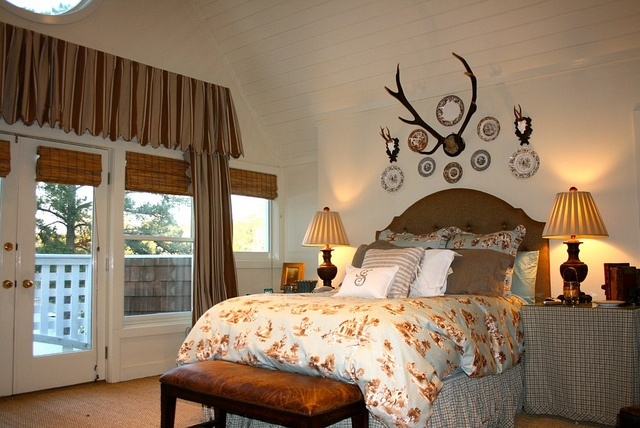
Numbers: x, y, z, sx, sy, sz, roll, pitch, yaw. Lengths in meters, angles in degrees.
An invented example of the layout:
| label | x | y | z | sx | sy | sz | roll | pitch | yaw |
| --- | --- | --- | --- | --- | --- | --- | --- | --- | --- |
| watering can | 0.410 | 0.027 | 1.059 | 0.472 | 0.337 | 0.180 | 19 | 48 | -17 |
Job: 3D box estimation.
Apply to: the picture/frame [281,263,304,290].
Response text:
| label | x | y | z | sx | sy | sz | roll | pitch | yaw |
| --- | --- | --- | --- | --- | --- | --- | --- | --- | --- |
| picture/frame | -0.368 | 0.838 | 6.229 | 0.287 | 0.340 | 0.020 | -1 | -17 | 18 |

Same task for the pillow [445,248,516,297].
| label | x | y | z | sx | sy | sz | roll | pitch | yaw |
| --- | --- | --- | --- | --- | --- | --- | --- | --- | --- |
| pillow | 1.424 | 0.515 | 4.202 | 0.481 | 0.510 | 0.136 | 7 | -38 | 27 |

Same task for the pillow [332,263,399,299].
| label | x | y | z | sx | sy | sz | roll | pitch | yaw |
| --- | --- | --- | --- | --- | --- | --- | --- | --- | --- |
| pillow | 0.394 | 0.577 | 3.905 | 0.555 | 0.263 | 0.240 | -11 | 4 | 44 |

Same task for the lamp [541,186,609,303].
| label | x | y | z | sx | sy | sz | roll | pitch | yaw |
| --- | --- | --- | --- | --- | --- | --- | --- | --- | --- |
| lamp | 2.344 | 0.263 | 4.219 | 0.551 | 1.052 | 0.381 | 3 | -6 | -19 |

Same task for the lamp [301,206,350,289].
| label | x | y | z | sx | sy | sz | roll | pitch | yaw |
| --- | --- | --- | --- | --- | --- | --- | --- | --- | --- |
| lamp | 0.081 | 0.429 | 5.497 | 0.574 | 0.951 | 0.555 | 7 | -12 | -29 |
